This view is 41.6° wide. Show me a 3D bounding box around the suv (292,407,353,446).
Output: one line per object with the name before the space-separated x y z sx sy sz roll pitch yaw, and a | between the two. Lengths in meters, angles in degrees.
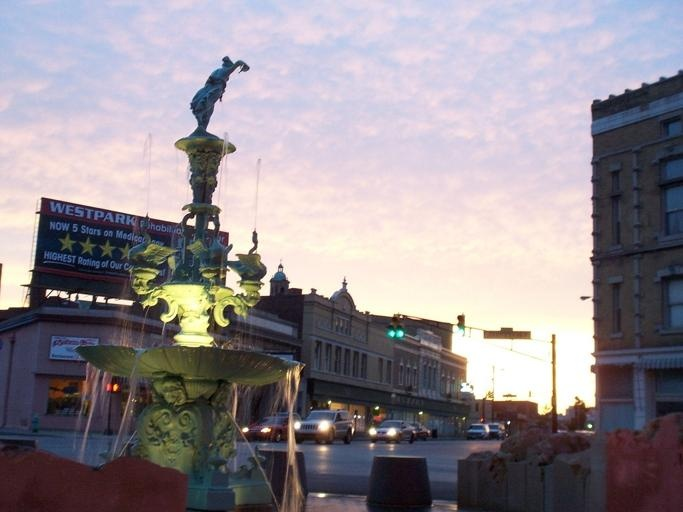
suv | -0.859 9.012 47.556 1.522 1.102 3.159 -6 -17 25

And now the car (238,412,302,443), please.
car | -3.845 8.884 46.428 1.780 1.583 2.992 -6 -18 21

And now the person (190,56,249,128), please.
person | -2.297 -2.904 16.209 0.836 1.544 0.424 4 -18 -8
